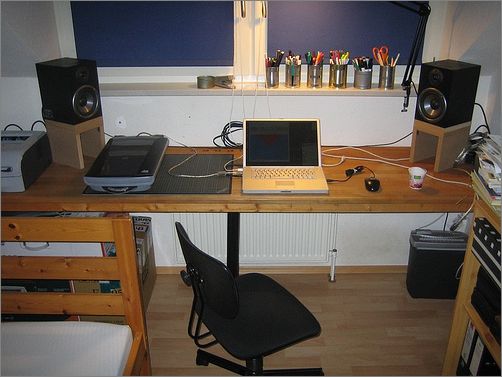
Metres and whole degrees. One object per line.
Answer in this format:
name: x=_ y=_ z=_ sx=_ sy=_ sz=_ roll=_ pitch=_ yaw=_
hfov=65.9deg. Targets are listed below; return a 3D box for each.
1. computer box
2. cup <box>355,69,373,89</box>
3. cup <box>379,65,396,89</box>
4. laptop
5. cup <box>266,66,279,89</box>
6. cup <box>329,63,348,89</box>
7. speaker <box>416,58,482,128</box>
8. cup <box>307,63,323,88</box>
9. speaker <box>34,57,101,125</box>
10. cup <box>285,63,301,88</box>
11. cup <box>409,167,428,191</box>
computer box: x=1.228 y=0.533 z=2.640 sx=0.380 sy=0.372 sz=0.222 roll=2 pitch=6 yaw=-9
cup: x=0.672 y=-0.674 z=2.390 sx=0.106 sy=0.115 sz=0.104 roll=-2 pitch=37 yaw=2
cup: x=0.845 y=-0.688 z=2.378 sx=0.130 sy=0.142 sz=0.070 roll=-12 pitch=24 yaw=-29
laptop: x=0.177 y=-0.180 z=2.056 sx=0.510 sy=0.277 sz=0.471 roll=6 pitch=26 yaw=13
cup: x=0.111 y=-0.683 z=2.373 sx=0.097 sy=0.149 sz=0.102 roll=0 pitch=32 yaw=0
cup: x=0.540 y=-0.707 z=2.404 sx=0.121 sy=0.137 sz=0.123 roll=-2 pitch=23 yaw=1
speaker: x=1.083 y=-0.517 z=2.156 sx=0.315 sy=0.323 sz=0.318 roll=8 pitch=26 yaw=17
cup: x=0.381 y=-0.687 z=2.353 sx=0.115 sy=0.133 sz=0.116 roll=0 pitch=28 yaw=0
speaker: x=-1.010 y=-0.550 z=2.169 sx=0.273 sy=0.315 sz=0.283 roll=3 pitch=27 yaw=-1
cup: x=0.252 y=-0.704 z=2.403 sx=0.099 sy=0.138 sz=0.110 roll=4 pitch=21 yaw=9
cup: x=0.841 y=-0.052 z=1.976 sx=0.102 sy=0.105 sz=0.105 roll=-2 pitch=20 yaw=1
